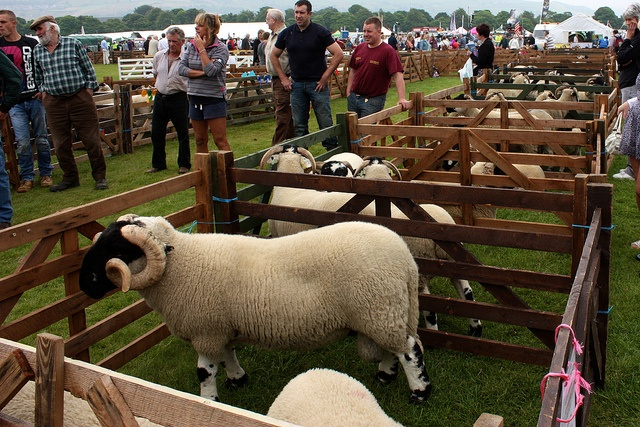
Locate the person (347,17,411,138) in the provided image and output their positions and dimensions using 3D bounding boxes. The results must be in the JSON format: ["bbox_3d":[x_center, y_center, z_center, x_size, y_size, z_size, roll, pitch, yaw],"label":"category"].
[{"bbox_3d":[1.040,-2.635,7.791,1.248,1.791,0.797,6,22,18],"label":"person"}]

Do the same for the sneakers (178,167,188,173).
[{"bbox_3d":[-2.842,-0.870,8.702,0.138,0.132,0.306,-1,-1,-4],"label":"sneakers"}]

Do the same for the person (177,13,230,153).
[{"bbox_3d":[-1.969,-2.142,7.170,0.771,2.255,0.672,-2,21,-1],"label":"person"}]

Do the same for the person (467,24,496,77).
[{"bbox_3d":[5.172,-5.109,13.302,0.701,1.563,1.961,6,23,20],"label":"person"}]

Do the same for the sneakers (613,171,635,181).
[{"bbox_3d":[5.990,-0.727,8.231,0.302,0.146,0.146,5,13,19],"label":"sneakers"}]

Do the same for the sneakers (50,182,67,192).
[{"bbox_3d":[-4.956,-0.510,8.002,0.138,0.142,0.332,22,22,41],"label":"sneakers"}]

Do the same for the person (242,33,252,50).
[{"bbox_3d":[-5.428,-12.453,30.758,0.611,1.009,1.733,-5,22,-8],"label":"person"}]
